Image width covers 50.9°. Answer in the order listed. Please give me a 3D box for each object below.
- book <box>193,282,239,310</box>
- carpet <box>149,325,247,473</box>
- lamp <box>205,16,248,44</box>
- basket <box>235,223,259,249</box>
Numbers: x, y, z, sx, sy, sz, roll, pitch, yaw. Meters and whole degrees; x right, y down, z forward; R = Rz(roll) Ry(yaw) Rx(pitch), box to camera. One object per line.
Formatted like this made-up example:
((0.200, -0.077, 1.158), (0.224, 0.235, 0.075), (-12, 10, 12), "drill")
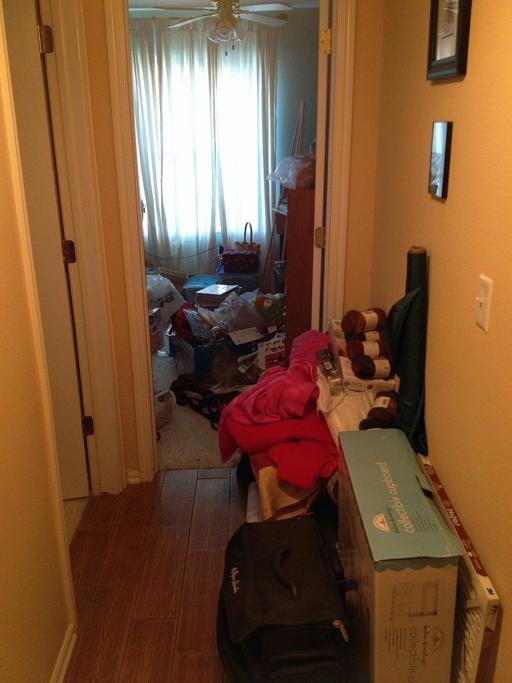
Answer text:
((-0.321, -0.383, 4.366), (0.198, 0.093, 0.270), (5, 23, 22), "book")
((-0.405, 0.408, 3.037), (0.469, 0.202, 0.673), (6, 43, -23), "carpet")
((-0.185, -1.940, 3.341), (0.223, 0.116, 0.307), (-12, 23, -17), "lamp")
((-0.100, -1.061, 5.353), (0.201, 0.309, 0.167), (6, 33, 3), "basket")
